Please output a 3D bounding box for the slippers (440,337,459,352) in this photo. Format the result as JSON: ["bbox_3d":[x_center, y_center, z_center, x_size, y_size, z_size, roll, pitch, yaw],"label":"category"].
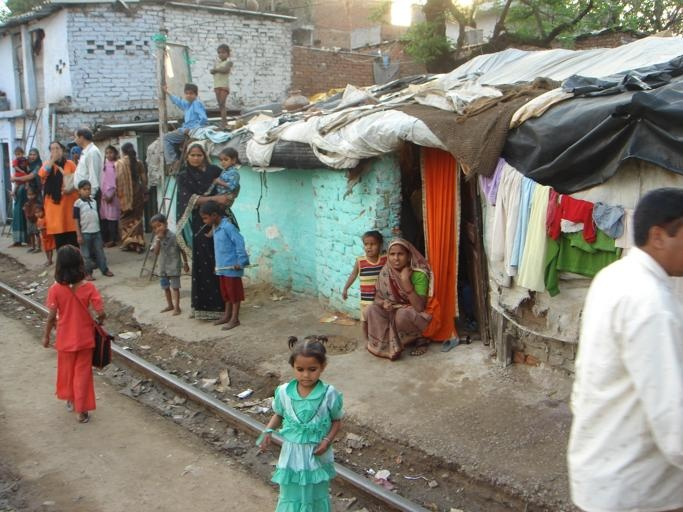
[{"bbox_3d":[1.241,1.013,7.441,0.121,0.119,0.276,8,14,42],"label":"slippers"}]

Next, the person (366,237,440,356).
[{"bbox_3d":[0.634,0.485,7.296,0.761,1.308,0.445,-1,11,3],"label":"person"}]

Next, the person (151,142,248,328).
[{"bbox_3d":[-1.889,-0.361,8.969,0.747,2.393,1.015,-5,12,-15],"label":"person"}]

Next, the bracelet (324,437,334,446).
[{"bbox_3d":[-0.097,1.376,4.760,0.065,0.077,0.033,-8,16,-17],"label":"bracelet"}]

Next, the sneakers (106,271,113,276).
[{"bbox_3d":[-4.113,0.305,11.528,0.124,0.082,0.210,-6,11,-20],"label":"sneakers"}]
